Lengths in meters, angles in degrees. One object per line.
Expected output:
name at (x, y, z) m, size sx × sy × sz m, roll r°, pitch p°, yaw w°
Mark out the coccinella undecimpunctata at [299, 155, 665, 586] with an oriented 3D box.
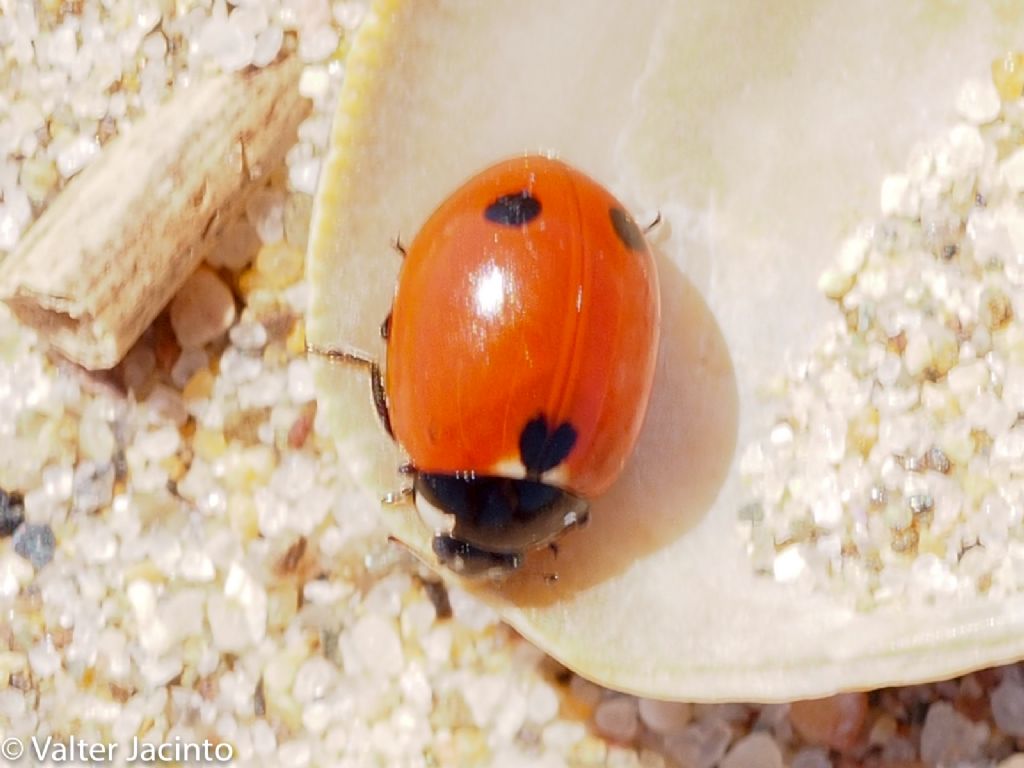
coccinella undecimpunctata at (0.000, -0.018, 1.256) m, size 0.258 × 0.142 × 0.327 m, roll 38°, pitch 79°, yaw 5°
